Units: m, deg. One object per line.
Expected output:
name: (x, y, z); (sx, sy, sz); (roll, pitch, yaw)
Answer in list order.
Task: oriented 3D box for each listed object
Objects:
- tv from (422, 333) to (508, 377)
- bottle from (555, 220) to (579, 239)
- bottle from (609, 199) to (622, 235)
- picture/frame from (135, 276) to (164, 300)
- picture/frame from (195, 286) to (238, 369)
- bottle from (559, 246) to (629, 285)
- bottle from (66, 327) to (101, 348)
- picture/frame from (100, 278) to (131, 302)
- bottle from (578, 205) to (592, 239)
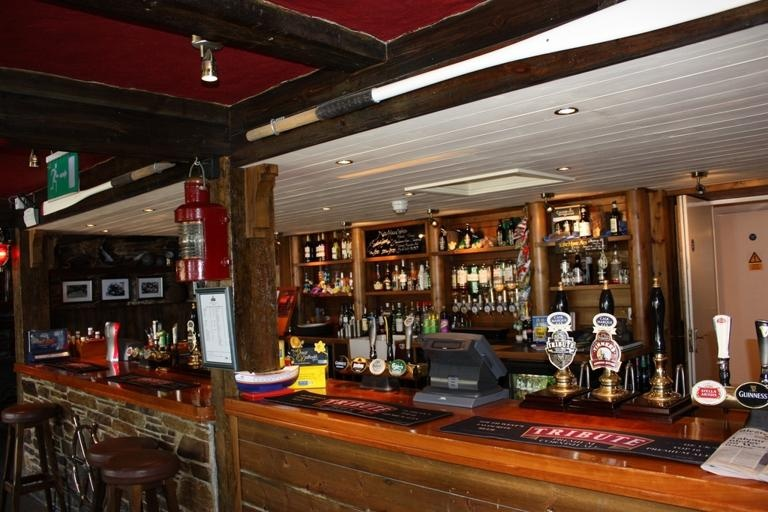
tv: (0.522, 0.664, 3.540); (0.544, 0.306, 0.298); (-2, -3, 7)
bottle: (2.079, -0.299, 6.049); (0.181, 0.198, 0.257); (0, -5, -1)
bottle: (2.575, -0.426, 5.967); (0.146, 0.391, 0.204); (-5, -4, 20)
picture/frame: (-3.685, 0.497, 8.398); (0.527, 0.338, 0.181); (5, -4, -42)
picture/frame: (-1.258, 0.537, 4.051); (0.110, 0.607, 0.434); (0, -4, -44)
bottle: (2.408, 0.105, 6.059); (0.646, 0.263, 0.134); (-2, -7, 28)
bottle: (-3.944, 1.068, 7.021); (0.420, 0.247, 0.176); (1, 4, 2)
picture/frame: (-4.074, 0.501, 8.106); (0.552, 0.317, 0.044); (0, -8, -33)
bottle: (2.247, -0.383, 6.001); (0.138, 0.369, 0.198); (-5, -4, 18)
